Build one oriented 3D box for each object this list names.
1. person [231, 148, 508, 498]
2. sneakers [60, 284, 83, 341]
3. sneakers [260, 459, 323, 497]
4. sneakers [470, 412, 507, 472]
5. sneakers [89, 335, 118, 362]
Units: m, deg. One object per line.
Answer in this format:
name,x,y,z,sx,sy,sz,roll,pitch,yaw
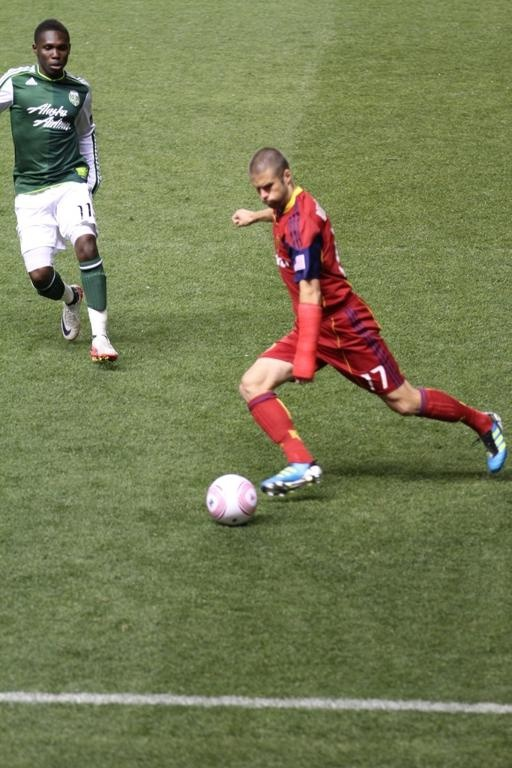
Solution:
person,0.383,-0.271,4.141,1.081,1.470,0.568,-13,26,-18
sneakers,-1.169,-0.441,5.900,0.138,0.332,0.150,7,14,15
sneakers,0.161,0.403,4.108,0.299,0.134,0.108,-21,-25,-11
sneakers,1.100,0.281,4.460,0.146,0.281,0.111,1,-19,-25
sneakers,-0.866,-0.192,5.511,0.100,0.108,0.227,-4,-13,-22
